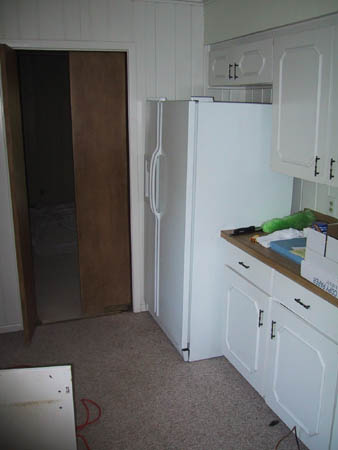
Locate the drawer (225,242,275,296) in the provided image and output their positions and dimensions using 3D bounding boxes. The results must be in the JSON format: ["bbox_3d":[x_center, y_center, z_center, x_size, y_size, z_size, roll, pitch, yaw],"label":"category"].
[{"bbox_3d":[0.444,0.242,2.020,0.025,0.165,0.472,-4,14,-19],"label":"drawer"}]

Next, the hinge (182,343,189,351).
[{"bbox_3d":[0.112,0.832,2.442,0.048,0.038,0.055,0,-1,-5],"label":"hinge"}]

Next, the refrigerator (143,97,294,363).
[{"bbox_3d":[0.250,0.055,2.407,1.063,1.778,0.513,4,11,22],"label":"refrigerator"}]
